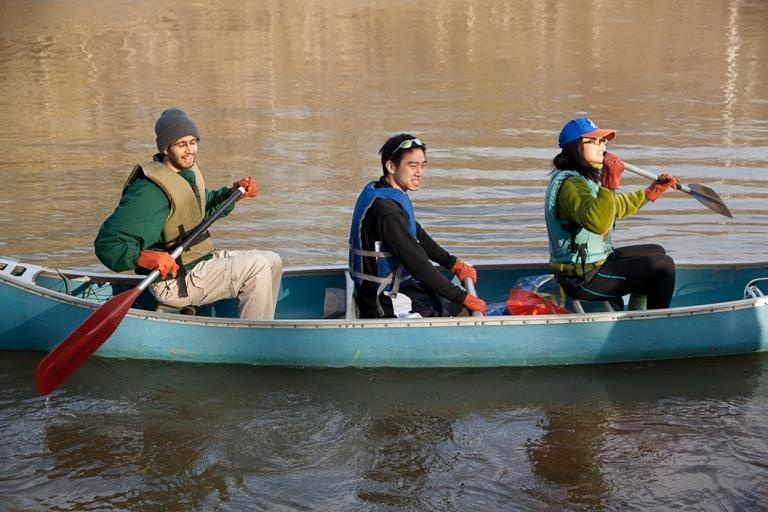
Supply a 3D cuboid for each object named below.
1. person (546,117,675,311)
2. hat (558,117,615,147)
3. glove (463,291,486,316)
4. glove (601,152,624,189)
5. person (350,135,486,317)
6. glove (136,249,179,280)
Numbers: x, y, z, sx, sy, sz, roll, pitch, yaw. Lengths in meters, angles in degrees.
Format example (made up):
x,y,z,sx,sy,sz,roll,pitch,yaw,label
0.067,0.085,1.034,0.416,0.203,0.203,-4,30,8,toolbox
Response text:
x,y,z,sx,sy,sz,roll,pitch,yaw,label
2.117,-0.356,9.540,1.176,1.865,0.829,-2,12,1,person
1.895,-1.155,9.493,0.499,0.267,0.240,0,10,6,hat
0.833,0.444,9.480,0.307,0.160,0.105,23,-38,-11,glove
2.075,-0.776,9.207,0.311,0.280,0.112,4,5,8,glove
0.210,-0.268,9.389,1.066,1.734,0.392,-2,13,-1,person
-2.093,0.067,9.305,0.356,0.252,0.168,-3,11,-9,glove
